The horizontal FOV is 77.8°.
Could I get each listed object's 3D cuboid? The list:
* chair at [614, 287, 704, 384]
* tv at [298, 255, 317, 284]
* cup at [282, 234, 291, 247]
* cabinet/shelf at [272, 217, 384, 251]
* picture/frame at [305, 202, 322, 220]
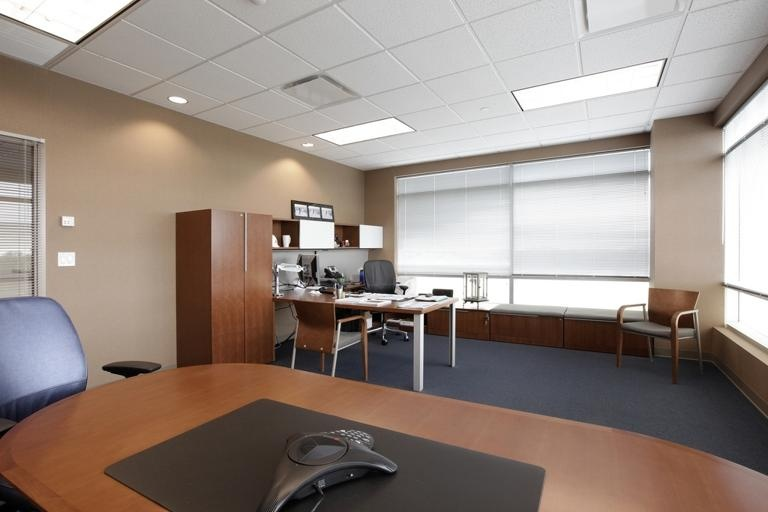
[{"bbox_3d":[3.068,0.807,5.300,0.755,0.870,0.760,2,3,43],"label":"chair"},{"bbox_3d":[-1.013,0.179,6.341,0.127,0.346,0.341,-4,-6,-42],"label":"tv"},{"bbox_3d":[-1.297,-0.197,6.393,0.105,0.154,0.158,-4,-11,16],"label":"cup"},{"bbox_3d":[-0.872,-0.322,7.139,0.439,0.493,2.263,5,7,32],"label":"cabinet/shelf"},{"bbox_3d":[-1.061,-0.665,7.056,0.041,0.185,0.317,-4,-4,28],"label":"picture/frame"}]
